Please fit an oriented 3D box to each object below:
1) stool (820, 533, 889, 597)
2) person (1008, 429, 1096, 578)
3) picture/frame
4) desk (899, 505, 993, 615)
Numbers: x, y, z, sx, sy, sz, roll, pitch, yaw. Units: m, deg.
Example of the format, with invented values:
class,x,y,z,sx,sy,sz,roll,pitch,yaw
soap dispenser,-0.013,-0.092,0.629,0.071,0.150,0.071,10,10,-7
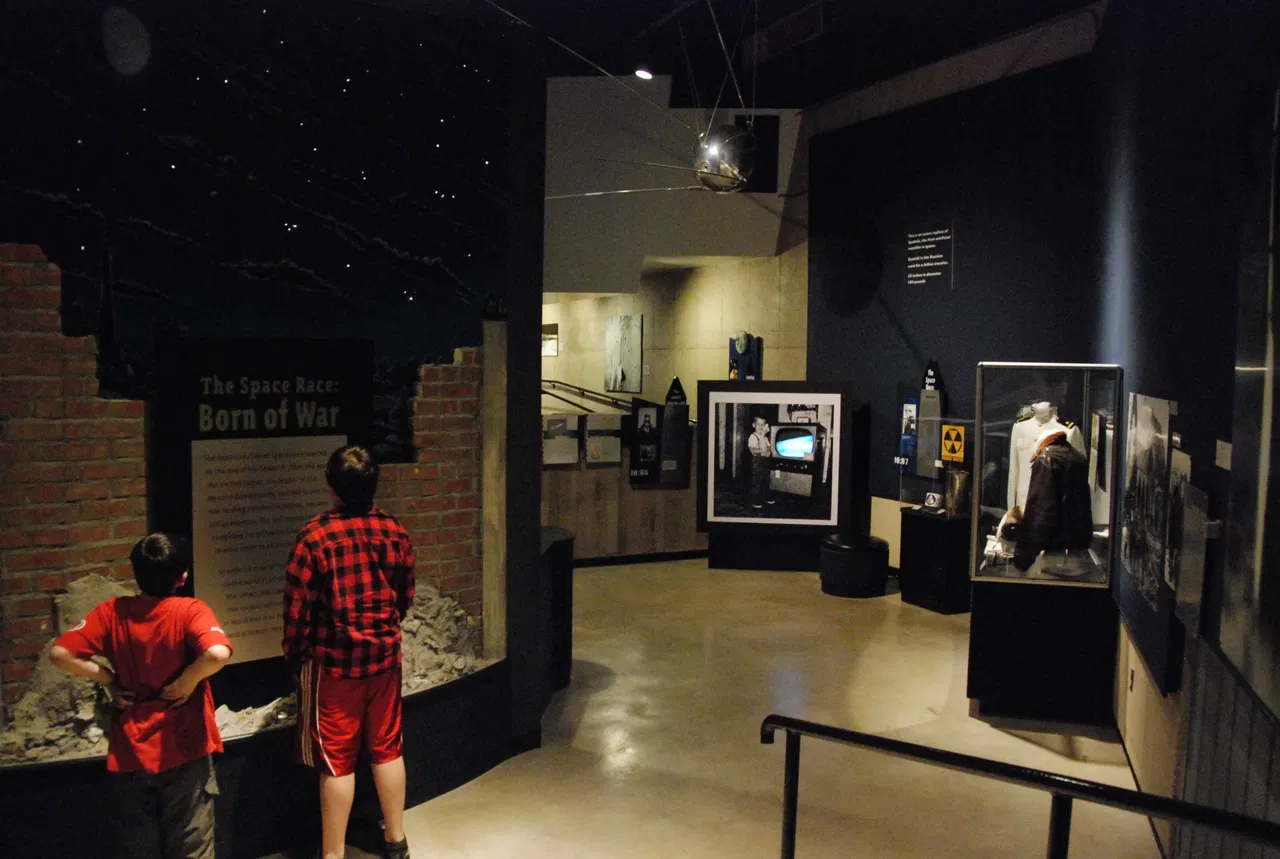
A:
class,x,y,z,sx,sy,sz,roll,pitch,yaw
stool,2.151,1.356,8.928,0.625,0.548,0.611,0,3,-43
person,2.730,0.473,5.831,0.515,0.928,0.134,1,7,0
picture/frame,1.268,0.226,8.122,1.350,1.393,0.104,1,7,8
desk,2.860,1.237,8.567,0.723,1.014,0.579,2,-13,12
